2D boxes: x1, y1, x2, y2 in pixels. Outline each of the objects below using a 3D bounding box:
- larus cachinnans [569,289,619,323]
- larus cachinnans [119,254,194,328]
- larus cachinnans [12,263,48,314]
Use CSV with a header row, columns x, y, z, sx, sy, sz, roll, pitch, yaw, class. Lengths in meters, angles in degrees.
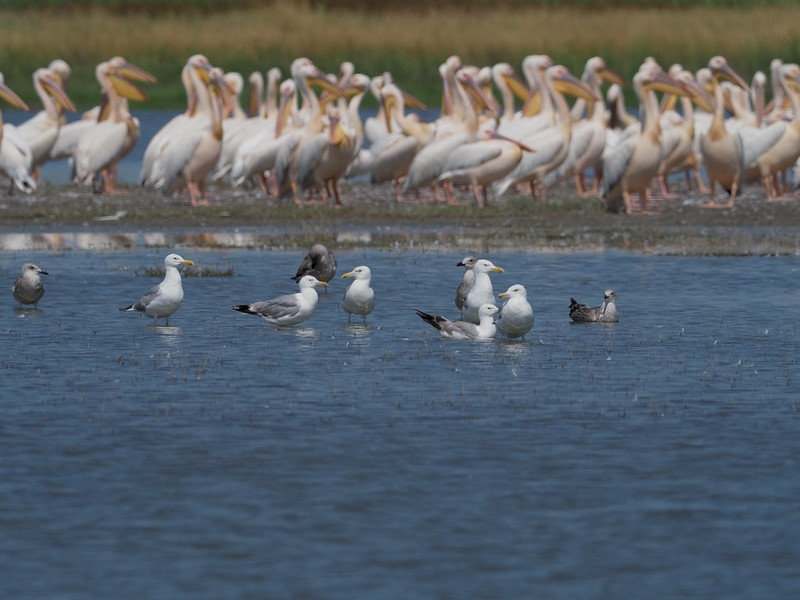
x,y,z,sx,sy,sz,roll,pitch,yaw,class
2.669,0.119,20.135,0.678,0.464,0.390,1,5,24,larus cachinnans
-3.262,-0.121,19.693,1.156,0.901,0.581,0,4,34,larus cachinnans
-5.258,-0.159,20.861,0.500,0.675,0.850,4,3,-22,larus cachinnans
